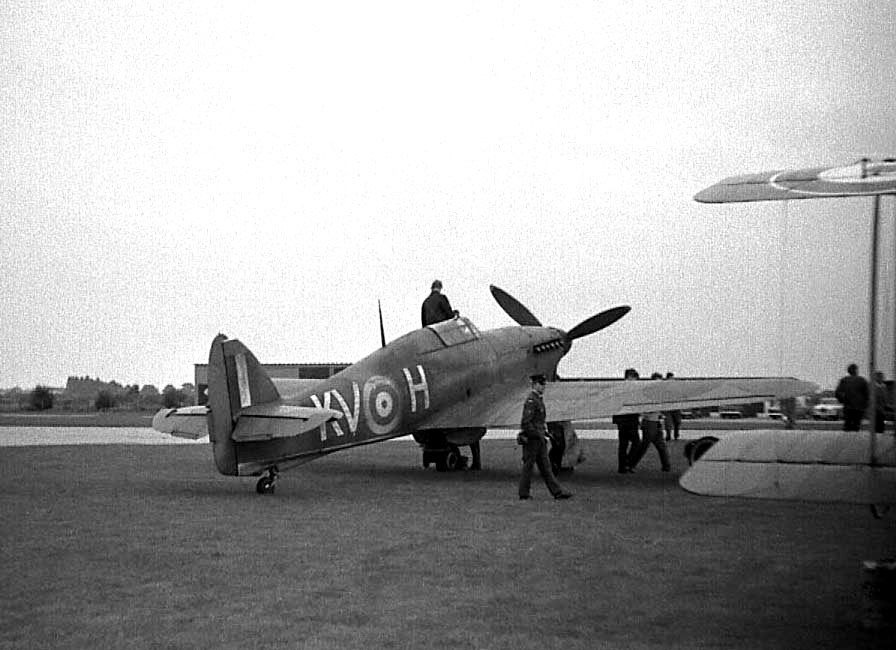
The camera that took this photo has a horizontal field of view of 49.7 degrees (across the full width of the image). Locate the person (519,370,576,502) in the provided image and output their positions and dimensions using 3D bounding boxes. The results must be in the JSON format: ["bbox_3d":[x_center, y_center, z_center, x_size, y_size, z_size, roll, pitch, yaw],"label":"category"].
[{"bbox_3d":[1.244,1.487,12.877,0.648,1.607,0.970,-2,-4,4],"label":"person"}]

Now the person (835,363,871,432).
[{"bbox_3d":[3.259,0.589,7.799,0.215,0.529,0.778,-3,-5,21],"label":"person"}]

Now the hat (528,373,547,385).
[{"bbox_3d":[1.403,0.861,15.184,0.285,0.274,0.153,6,15,17],"label":"hat"}]

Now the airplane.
[{"bbox_3d":[-0.575,0.999,15.565,8.001,2.885,5.674,0,-5,-18],"label":"airplane"}]

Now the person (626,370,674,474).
[{"bbox_3d":[3.707,1.892,17.156,0.651,1.428,0.525,14,-34,11],"label":"person"}]
